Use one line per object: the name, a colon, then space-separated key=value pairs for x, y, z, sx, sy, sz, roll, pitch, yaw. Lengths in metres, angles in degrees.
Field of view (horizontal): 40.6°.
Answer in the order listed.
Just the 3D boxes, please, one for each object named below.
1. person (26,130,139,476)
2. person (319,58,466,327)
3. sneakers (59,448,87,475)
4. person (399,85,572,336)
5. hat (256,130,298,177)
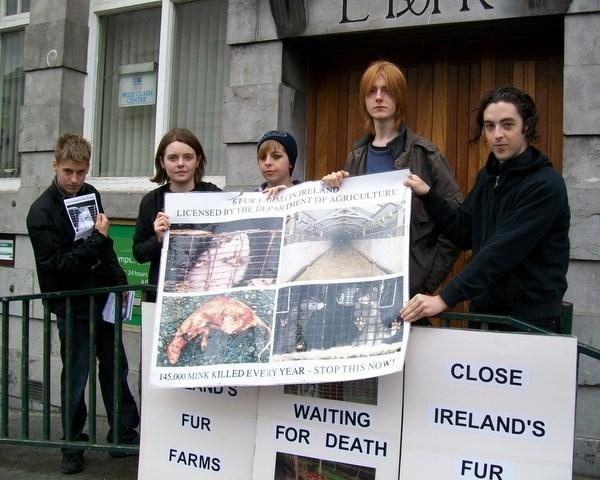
person: x=-1.678 y=0.463 z=6.256 sx=0.800 sy=2.589 sz=0.638 roll=-1 pitch=-2 yaw=-21
person: x=0.598 y=0.081 z=5.534 sx=0.914 sy=2.655 sz=0.785 roll=-3 pitch=-13 yaw=20
sneakers: x=-1.722 y=1.669 z=6.138 sx=0.086 sy=0.215 sz=0.281 roll=2 pitch=4 yaw=8
person: x=1.200 y=-0.183 z=5.077 sx=0.932 sy=1.535 sz=0.660 roll=-3 pitch=-2 yaw=6
hat: x=-0.171 y=-0.644 z=5.875 sx=0.229 sy=0.354 sz=0.303 roll=-13 pitch=-13 yaw=30
